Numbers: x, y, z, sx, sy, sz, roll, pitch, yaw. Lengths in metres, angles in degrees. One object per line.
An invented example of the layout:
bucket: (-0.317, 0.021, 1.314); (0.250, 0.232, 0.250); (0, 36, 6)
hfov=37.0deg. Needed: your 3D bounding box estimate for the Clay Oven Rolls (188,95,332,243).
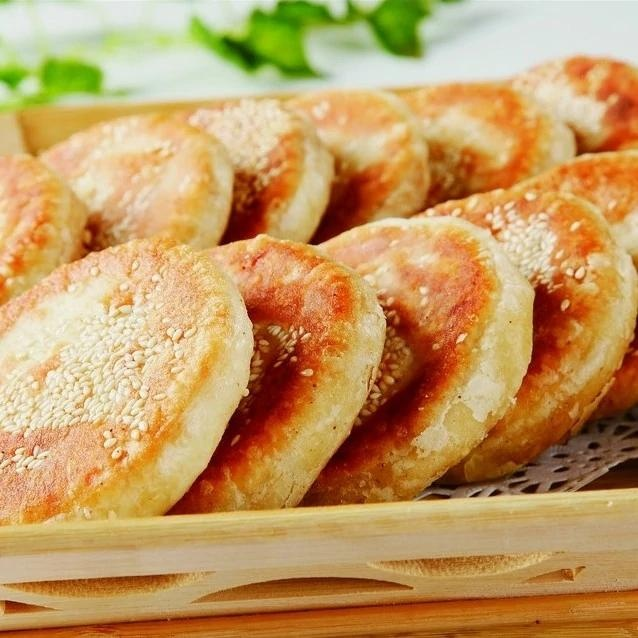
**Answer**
Clay Oven Rolls: (-0.143, -0.278, 2.104); (0.367, 0.120, 0.360); (-35, 31, 25)
